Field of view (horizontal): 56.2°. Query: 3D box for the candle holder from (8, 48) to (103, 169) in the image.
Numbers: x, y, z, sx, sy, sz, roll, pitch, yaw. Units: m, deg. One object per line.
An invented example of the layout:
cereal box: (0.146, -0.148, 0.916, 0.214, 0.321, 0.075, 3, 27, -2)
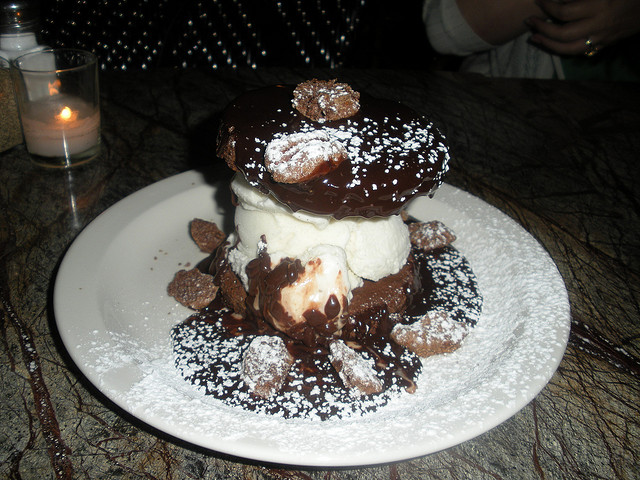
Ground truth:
candle holder: (-1.058, -0.560, 2.413, 0.363, 0.367, 0.503, -12, 61, -14)
